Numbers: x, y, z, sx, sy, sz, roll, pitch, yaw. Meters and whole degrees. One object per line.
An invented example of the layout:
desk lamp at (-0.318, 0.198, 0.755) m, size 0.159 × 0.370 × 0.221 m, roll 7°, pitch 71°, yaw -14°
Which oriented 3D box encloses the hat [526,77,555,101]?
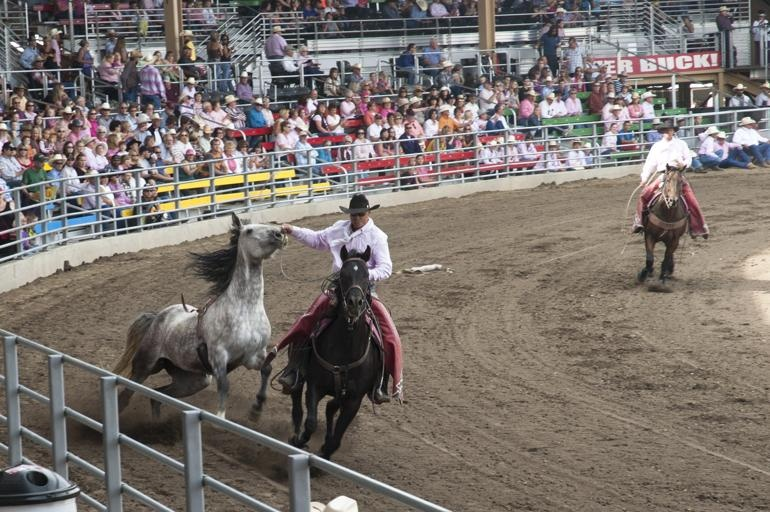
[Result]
hat at (4.854, -5.211, 41.035) m, size 0.979 × 0.555 × 0.848 m, roll 1°, pitch 0°, yaw -4°

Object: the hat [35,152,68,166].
hat at (-7.415, -2.081, 28.484) m, size 0.471 × 0.144 × 0.578 m, roll 0°, pitch -4°, yaw -18°

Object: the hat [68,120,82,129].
hat at (-7.235, -3.006, 30.128) m, size 0.286 × 0.197 × 0.291 m, roll -11°, pitch 14°, yaw -37°

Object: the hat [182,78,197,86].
hat at (-5.365, -4.620, 35.063) m, size 0.410 × 0.136 × 0.404 m, roll 2°, pitch -2°, yaw -14°

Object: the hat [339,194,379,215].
hat at (-0.426, -0.792, 20.919) m, size 0.505 × 0.172 × 0.495 m, roll -1°, pitch 1°, yaw 5°

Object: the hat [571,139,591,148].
hat at (5.805, -3.283, 38.787) m, size 0.454 × 0.140 × 0.434 m, roll 1°, pitch -6°, yaw 0°

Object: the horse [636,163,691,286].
horse at (5.837, -0.651, 27.153) m, size 1.050 × 2.468 × 1.088 m, roll -1°, pitch 13°, yaw 12°

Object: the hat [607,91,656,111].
hat at (7.805, -4.836, 41.335) m, size 1.312 × 0.621 × 0.419 m, roll 0°, pitch 13°, yaw 0°

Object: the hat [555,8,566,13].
hat at (6.155, -8.495, 45.721) m, size 0.448 × 0.116 × 0.390 m, roll 1°, pitch 6°, yaw 3°

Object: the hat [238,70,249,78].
hat at (-4.033, -5.037, 36.530) m, size 0.286 × 0.091 × 0.285 m, roll -1°, pitch 3°, yaw -18°

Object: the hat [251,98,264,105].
hat at (-3.527, -4.122, 35.301) m, size 0.388 × 0.132 × 0.384 m, roll 1°, pitch -8°, yaw -9°

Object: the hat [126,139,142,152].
hat at (-5.953, -2.516, 30.368) m, size 0.322 × 0.303 × 0.128 m, roll 2°, pitch 26°, yaw -38°

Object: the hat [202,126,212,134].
hat at (-4.511, -3.113, 32.594) m, size 0.240 × 0.180 × 0.435 m, roll -3°, pitch 11°, yaw -1°

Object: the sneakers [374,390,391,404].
sneakers at (-0.054, 2.244, 20.938) m, size 0.320 × 0.258 × 0.193 m, roll 14°, pitch -16°, yaw -39°

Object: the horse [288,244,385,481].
horse at (-0.755, 1.598, 20.477) m, size 1.514 × 3.483 × 0.943 m, roll -3°, pitch 13°, yaw 0°

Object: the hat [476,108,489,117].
hat at (2.831, -4.136, 38.373) m, size 0.294 × 0.098 × 0.253 m, roll -24°, pitch -1°, yaw 38°
